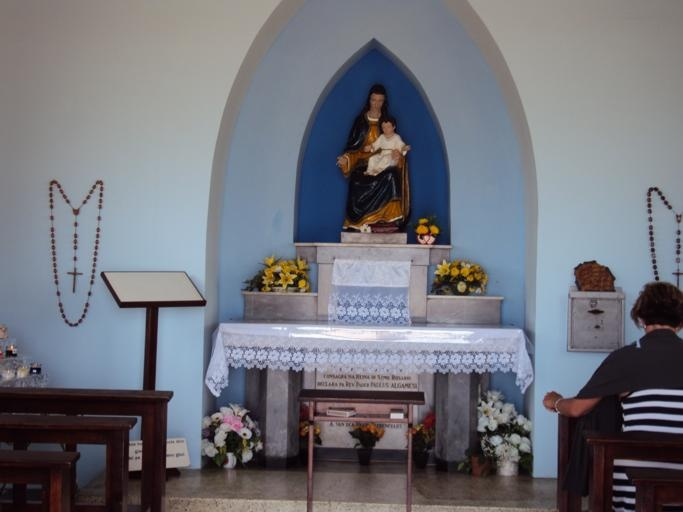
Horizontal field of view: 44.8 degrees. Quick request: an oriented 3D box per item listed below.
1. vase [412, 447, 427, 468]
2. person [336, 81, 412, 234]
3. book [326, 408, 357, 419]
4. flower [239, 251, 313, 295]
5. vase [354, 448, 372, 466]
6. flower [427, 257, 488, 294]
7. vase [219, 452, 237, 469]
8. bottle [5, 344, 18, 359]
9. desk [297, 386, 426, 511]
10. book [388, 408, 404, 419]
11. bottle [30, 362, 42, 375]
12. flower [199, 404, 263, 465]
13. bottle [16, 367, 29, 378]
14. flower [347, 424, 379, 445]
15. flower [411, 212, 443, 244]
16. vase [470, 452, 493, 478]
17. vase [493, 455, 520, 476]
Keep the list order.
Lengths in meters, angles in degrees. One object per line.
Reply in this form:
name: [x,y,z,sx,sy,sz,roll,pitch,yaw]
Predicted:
vase: [0.718,1.836,7.524,0.146,0.132,0.155,0,-9,3]
person: [0.320,-0.958,8.351,0.721,1.487,0.406,1,8,3]
book: [-0.006,1.332,7.032,0.169,0.045,0.180,1,-3,13]
flower: [-0.624,0.181,8.043,0.610,0.352,0.222,2,-6,-9]
vase: [0.211,1.817,7.554,0.163,0.151,0.140,0,-7,2]
flower: [1.135,0.212,7.986,0.536,0.340,0.296,0,-6,8]
vase: [-1.004,1.821,7.392,0.087,0.140,0.144,3,6,24]
bottle: [-2.755,0.801,6.927,0.089,0.101,0.093,1,-6,-10]
desk: [0.184,1.667,7.108,0.888,0.917,0.425,1,1,2]
book: [0.445,1.278,6.630,0.130,0.089,0.126,0,-11,2]
bottle: [-2.561,0.944,6.937,0.098,0.105,0.101,3,-8,-19]
flower: [-0.993,1.552,7.561,0.488,0.472,0.520,2,10,11]
bottle: [-2.616,0.952,6.773,0.069,0.056,0.073,2,4,0]
flower: [0.235,1.627,7.651,0.206,0.155,0.213,1,-16,4]
flower: [0.865,-0.234,8.225,0.283,0.291,0.284,-14,33,-23]
vase: [1.228,1.849,7.311,0.160,0.134,0.169,1,-5,3]
vase: [1.474,1.853,7.377,0.157,0.130,0.170,-2,-7,11]
